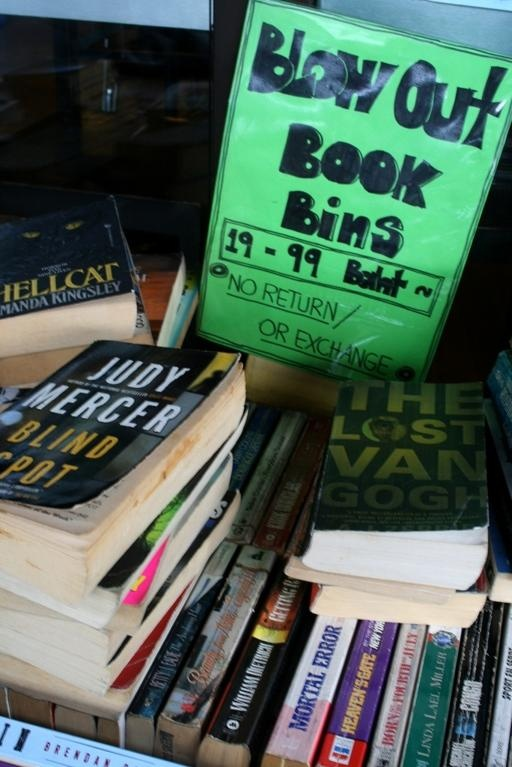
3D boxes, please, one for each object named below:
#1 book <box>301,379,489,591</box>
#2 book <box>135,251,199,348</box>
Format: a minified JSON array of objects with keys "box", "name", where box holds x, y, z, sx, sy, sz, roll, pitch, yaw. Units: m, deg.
[{"box":[0.153,0.084,0.621,0.190,0.065,0.266,5,34,22],"name":"book"},{"box":[-0.128,-0.122,0.844,0.127,0.032,0.135,5,58,-4],"name":"book"}]
